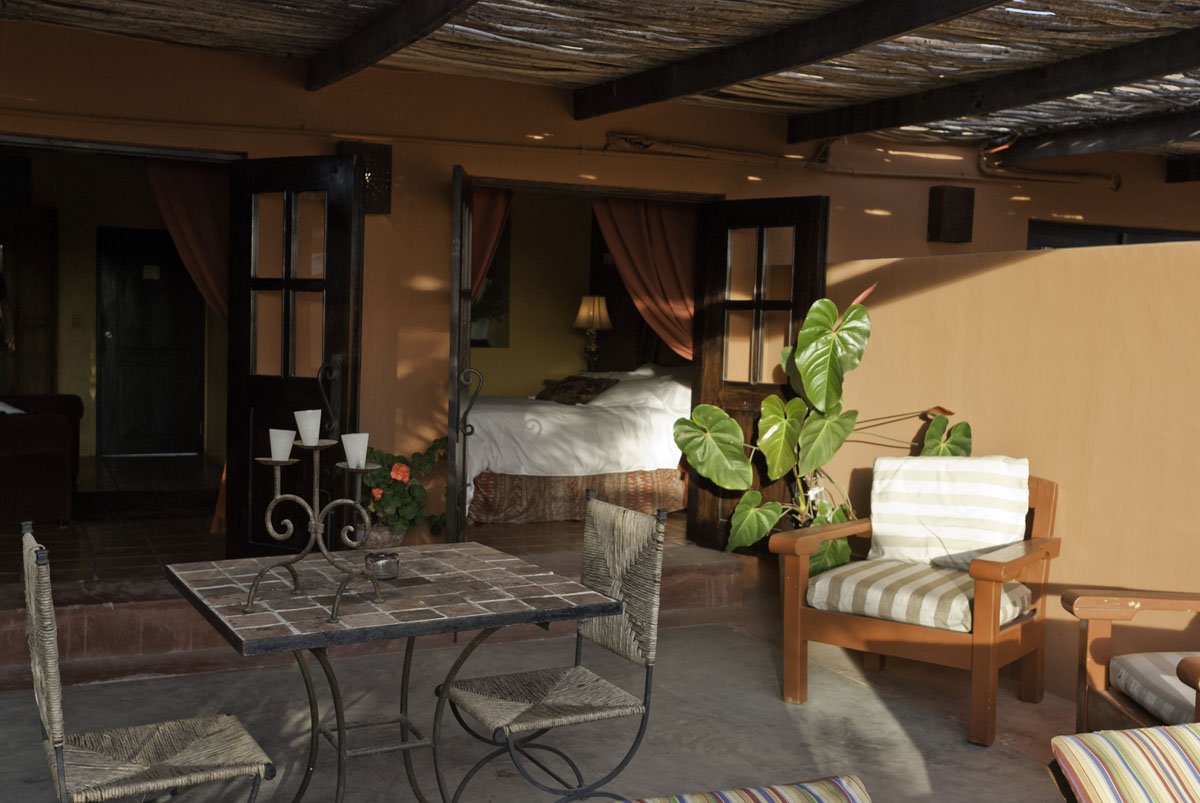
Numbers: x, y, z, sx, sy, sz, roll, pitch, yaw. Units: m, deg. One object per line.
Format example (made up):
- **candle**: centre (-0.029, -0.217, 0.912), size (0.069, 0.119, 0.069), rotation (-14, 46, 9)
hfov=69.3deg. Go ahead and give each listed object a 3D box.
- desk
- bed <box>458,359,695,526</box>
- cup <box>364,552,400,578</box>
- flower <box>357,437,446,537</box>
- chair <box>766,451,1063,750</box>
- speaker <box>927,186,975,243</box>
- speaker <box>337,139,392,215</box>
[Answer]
- **desk**: centre (-0.855, 0.636, 3.318), size (1.530, 1.003, 1.170), rotation (-3, 5, -28)
- **bed**: centre (-0.264, 0.405, 7.311), size (1.706, 0.792, 1.074), rotation (1, 1, -17)
- **cup**: centre (-0.819, 0.615, 3.260), size (0.115, 0.097, 0.108), rotation (1, 0, 0)
- **flower**: centre (-1.382, 0.601, 6.037), size (0.304, 0.664, 0.625), rotation (3, 7, 29)
- **chair**: centre (1.628, 0.918, 4.489), size (1.257, 1.217, 0.964), rotation (2, 7, 30)
- **speaker**: centre (3.065, -1.670, 7.634), size (0.568, 0.502, 0.182), rotation (1, 0, -32)
- **speaker**: centre (-1.578, -1.521, 5.670), size (0.362, 0.493, 0.706), rotation (-2, 6, -6)
